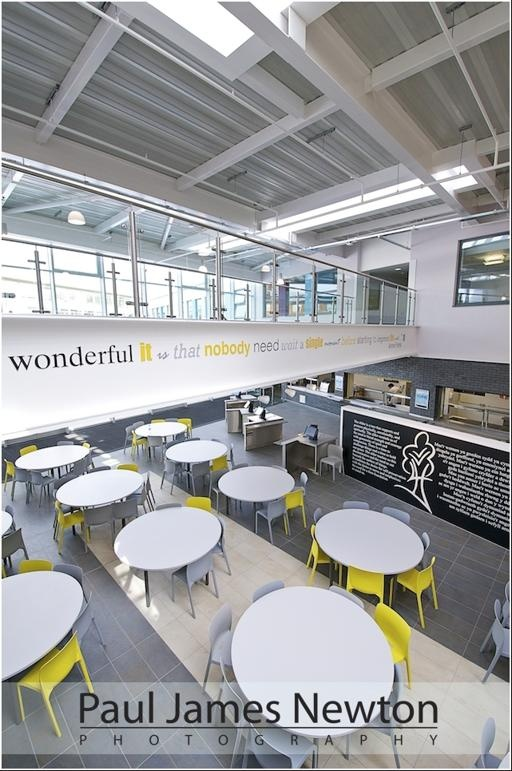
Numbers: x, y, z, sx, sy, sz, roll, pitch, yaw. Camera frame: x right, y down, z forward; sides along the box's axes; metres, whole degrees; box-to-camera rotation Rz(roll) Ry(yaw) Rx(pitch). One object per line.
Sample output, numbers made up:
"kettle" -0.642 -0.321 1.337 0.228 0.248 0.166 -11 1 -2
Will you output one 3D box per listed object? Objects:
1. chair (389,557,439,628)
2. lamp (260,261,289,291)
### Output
"chair" 1.533 2.047 4.603 0.384 0.692 0.397 -19 27 -36
"lamp" 0.149 -1.204 5.147 0.180 0.308 0.542 8 16 17
